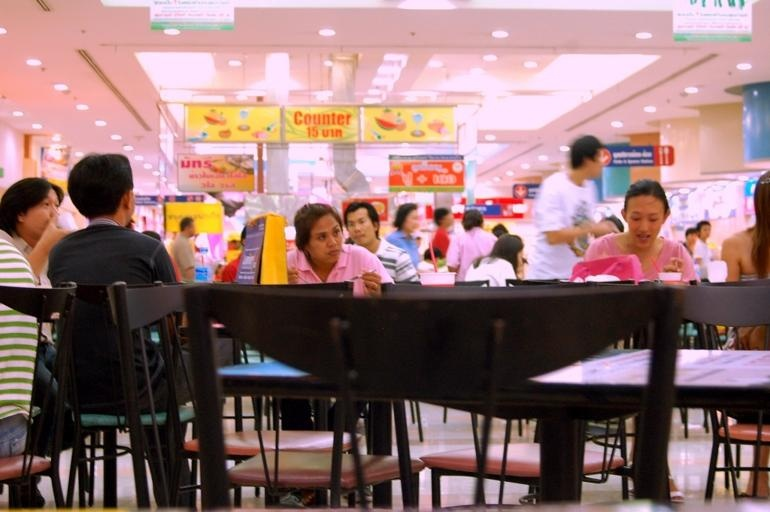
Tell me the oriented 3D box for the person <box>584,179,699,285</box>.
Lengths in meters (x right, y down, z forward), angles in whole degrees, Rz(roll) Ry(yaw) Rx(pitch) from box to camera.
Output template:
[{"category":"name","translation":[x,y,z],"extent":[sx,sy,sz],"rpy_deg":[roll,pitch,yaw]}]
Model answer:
[{"category":"person","translation":[1.563,-0.131,4.504],"extent":[0.859,0.683,0.566],"rpy_deg":[0,-7,7]}]

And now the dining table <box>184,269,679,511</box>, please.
[{"category":"dining table","translation":[0.125,0.378,2.003],"extent":[1.337,0.614,0.230],"rpy_deg":[-1,-5,-4]}]

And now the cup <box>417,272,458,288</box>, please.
[{"category":"cup","translation":[0.380,0.179,5.392],"extent":[0.203,0.075,0.132],"rpy_deg":[1,-6,0]}]

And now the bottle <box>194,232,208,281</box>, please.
[{"category":"bottle","translation":[-3.359,0.163,13.352],"extent":[0.319,0.191,0.832],"rpy_deg":[-1,-46,-17]}]

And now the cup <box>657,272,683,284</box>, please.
[{"category":"cup","translation":[1.494,0.116,3.826],"extent":[0.095,0.041,0.094],"rpy_deg":[3,-2,0]}]

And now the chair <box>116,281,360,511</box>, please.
[{"category":"chair","translation":[-0.480,0.578,3.312],"extent":[0.980,1.324,0.877],"rpy_deg":[-1,-3,10]}]
